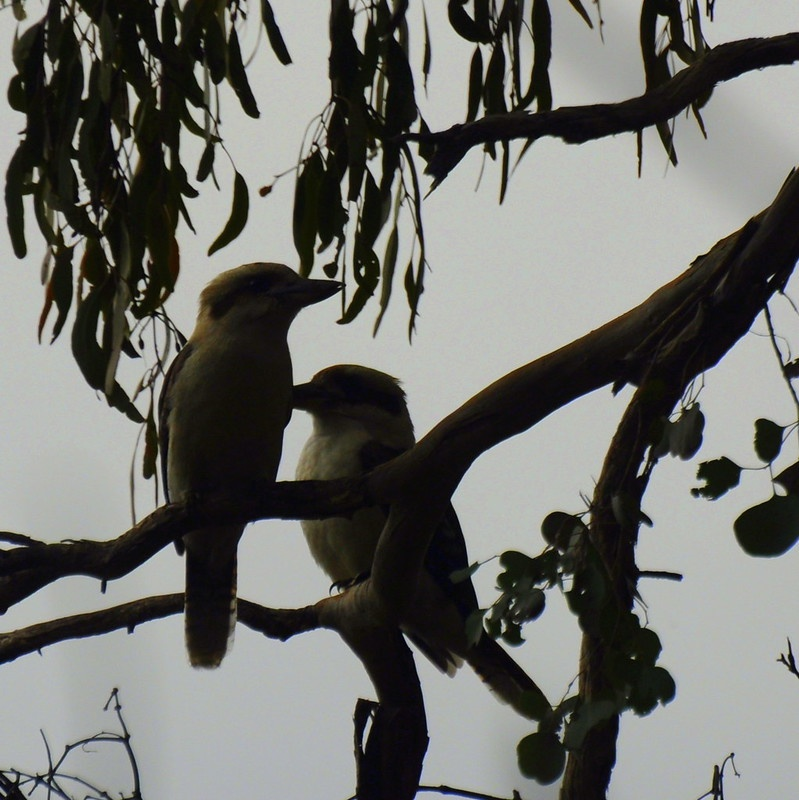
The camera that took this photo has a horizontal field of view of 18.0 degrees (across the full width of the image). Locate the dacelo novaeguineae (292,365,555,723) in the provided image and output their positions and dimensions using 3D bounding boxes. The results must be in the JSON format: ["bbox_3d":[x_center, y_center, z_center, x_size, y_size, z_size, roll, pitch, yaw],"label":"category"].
[{"bbox_3d":[0.026,0.264,4.678,0.438,0.611,0.235,6,-13,-22],"label":"dacelo novaeguineae"}]

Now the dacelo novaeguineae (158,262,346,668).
[{"bbox_3d":[-0.263,0.094,4.130,0.132,0.239,0.620,9,-74,-24],"label":"dacelo novaeguineae"}]
